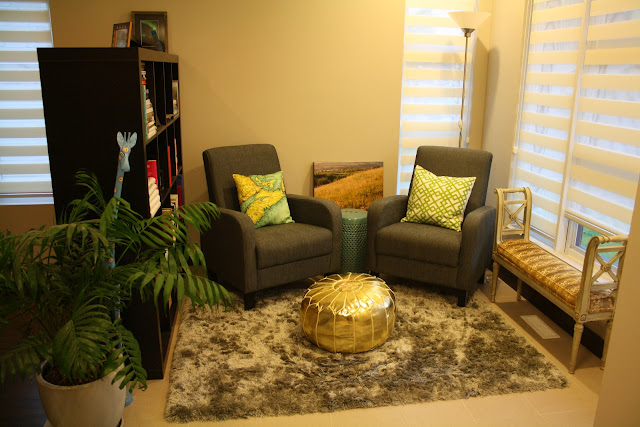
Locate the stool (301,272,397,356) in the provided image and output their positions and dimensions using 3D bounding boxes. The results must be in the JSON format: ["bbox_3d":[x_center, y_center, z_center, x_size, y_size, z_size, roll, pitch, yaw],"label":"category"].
[{"bbox_3d":[0.222,0.762,3.689,0.776,0.379,0.760,-14,20,-37],"label":"stool"}]

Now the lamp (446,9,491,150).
[{"bbox_3d":[1.521,-1.317,4.800,0.367,1.355,0.628,5,23,16],"label":"lamp"}]

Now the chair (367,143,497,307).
[{"bbox_3d":[1.109,0.044,4.338,1.021,1.213,1.038,10,17,33],"label":"chair"}]

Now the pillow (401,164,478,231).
[{"bbox_3d":[1.108,-0.108,4.287,0.556,0.466,0.262,13,22,39],"label":"pillow"}]

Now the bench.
[{"bbox_3d":[1.885,0.468,3.713,0.368,1.020,1.237,-6,19,-11],"label":"bench"}]

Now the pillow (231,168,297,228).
[{"bbox_3d":[-0.566,-0.224,4.356,0.521,0.133,0.499,7,14,-46],"label":"pillow"}]
